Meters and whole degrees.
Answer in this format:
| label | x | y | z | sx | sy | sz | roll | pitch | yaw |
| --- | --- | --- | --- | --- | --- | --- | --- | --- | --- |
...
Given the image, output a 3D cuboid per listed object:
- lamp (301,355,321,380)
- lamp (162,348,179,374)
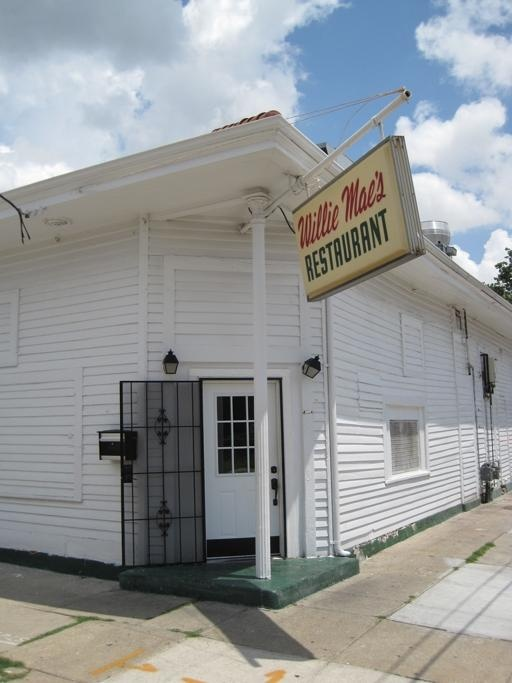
| label | x | y | z | sx | sy | sz | roll | pitch | yaw |
| --- | --- | --- | --- | --- | --- | --- | --- | --- | --- |
| lamp | 0.599 | 0.282 | 7.717 | 0.195 | 0.288 | 0.174 | 20 | -2 | -32 |
| lamp | -0.911 | 0.217 | 7.348 | 0.178 | 0.262 | 0.174 | 1 | -6 | -8 |
